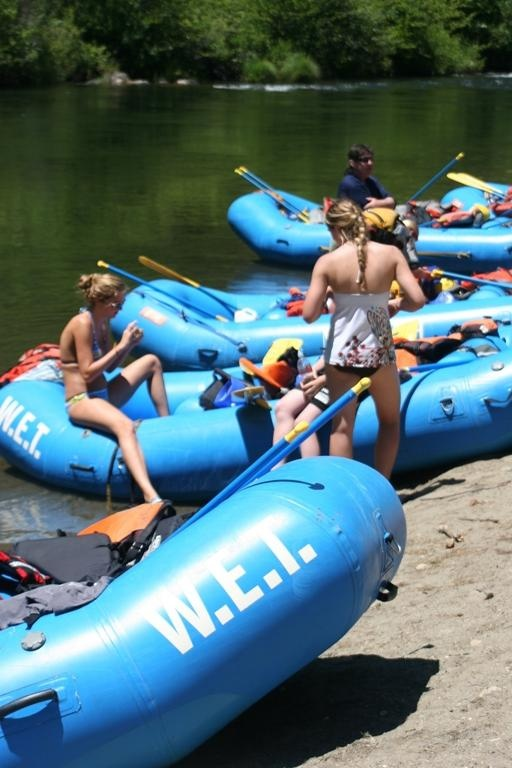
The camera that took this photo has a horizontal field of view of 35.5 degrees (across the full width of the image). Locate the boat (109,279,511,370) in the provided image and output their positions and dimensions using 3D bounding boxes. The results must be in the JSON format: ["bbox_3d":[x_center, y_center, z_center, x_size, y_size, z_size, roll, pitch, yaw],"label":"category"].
[{"bbox_3d":[0.278,-0.470,6.165,2.609,0.484,1.218,-2,8,15],"label":"boat"}]

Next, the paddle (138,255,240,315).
[{"bbox_3d":[-0.604,-0.879,7.083,0.121,0.146,1.773,-37,45,-27],"label":"paddle"}]

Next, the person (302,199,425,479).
[{"bbox_3d":[0.434,-0.151,3.295,0.470,1.184,0.263,2,17,10],"label":"person"}]

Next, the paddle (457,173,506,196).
[{"bbox_3d":[2.836,-2.528,10.123,0.568,0.256,1.532,3,14,16],"label":"paddle"}]

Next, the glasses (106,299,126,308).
[{"bbox_3d":[-0.755,-0.428,4.237,0.061,0.019,0.056,7,22,20],"label":"glasses"}]

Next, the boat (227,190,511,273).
[{"bbox_3d":[1.348,-1.735,9.668,3.031,0.652,1.630,2,19,13],"label":"boat"}]
